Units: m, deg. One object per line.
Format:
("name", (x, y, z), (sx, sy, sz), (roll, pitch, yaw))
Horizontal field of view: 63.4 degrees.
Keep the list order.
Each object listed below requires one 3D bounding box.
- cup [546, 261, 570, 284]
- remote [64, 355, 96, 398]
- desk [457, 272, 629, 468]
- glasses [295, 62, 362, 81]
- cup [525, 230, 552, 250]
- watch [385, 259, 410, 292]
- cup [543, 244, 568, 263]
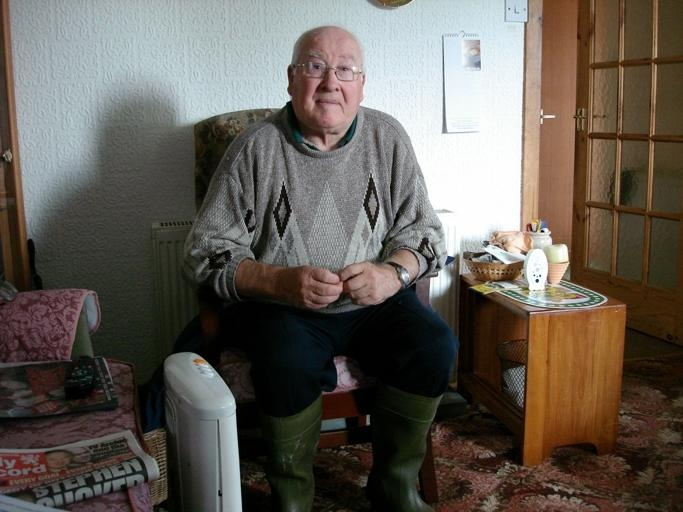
("cup", (0.882, 0.064, 2.262), (0.086, 0.068, 0.086), (1, 8, 0))
("remote", (-0.646, 0.306, 1.374), (0.067, 0.037, 0.138), (-3, 14, -18))
("desk", (0.683, 0.479, 2.330), (0.553, 0.656, 0.817), (2, 0, -32))
("glasses", (-0.041, -0.557, 1.663), (0.196, 0.060, 0.055), (-2, 13, -2))
("cup", (0.852, -0.076, 2.381), (0.084, 0.095, 0.083), (-1, 8, 0))
("watch", (0.180, 0.060, 1.672), (0.045, 0.072, 0.079), (-32, 36, -32))
("cup", (0.867, -0.013, 2.246), (0.076, 0.056, 0.076), (-2, 4, 0))
